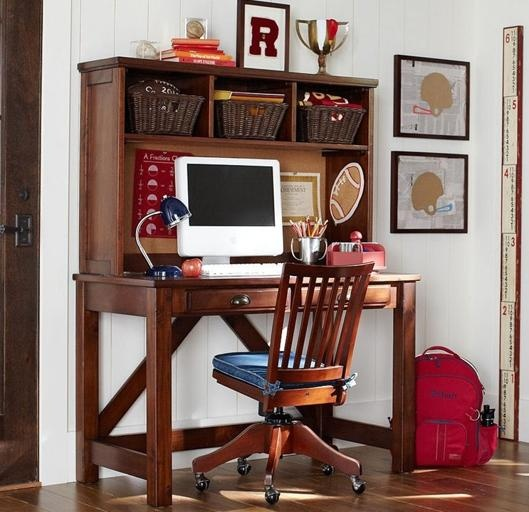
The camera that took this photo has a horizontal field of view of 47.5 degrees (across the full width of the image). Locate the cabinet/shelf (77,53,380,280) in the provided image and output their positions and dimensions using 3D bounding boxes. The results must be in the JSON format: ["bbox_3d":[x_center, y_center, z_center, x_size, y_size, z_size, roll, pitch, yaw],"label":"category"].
[{"bbox_3d":[-0.118,-0.365,2.571,1.261,0.888,0.361,-1,6,-31],"label":"cabinet/shelf"}]

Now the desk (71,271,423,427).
[{"bbox_3d":[-0.042,0.496,2.495,1.223,0.843,0.698,3,-5,-33],"label":"desk"}]

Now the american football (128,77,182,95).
[{"bbox_3d":[-0.425,-0.645,2.328,0.114,0.040,0.098,1,3,-33],"label":"american football"}]

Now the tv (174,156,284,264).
[{"bbox_3d":[-0.161,-0.200,2.582,0.450,0.414,0.163,-1,-3,-23],"label":"tv"}]

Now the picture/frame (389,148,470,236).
[{"bbox_3d":[0.875,-0.336,3.247,0.493,0.433,0.087,0,5,-30],"label":"picture/frame"}]

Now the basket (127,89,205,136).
[{"bbox_3d":[-0.388,-0.514,2.393,0.278,0.186,0.229,1,-2,-30],"label":"basket"}]

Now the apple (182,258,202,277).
[{"bbox_3d":[-0.261,0.042,2.183,0.060,0.063,0.063,-3,1,13],"label":"apple"}]

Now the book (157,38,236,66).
[{"bbox_3d":[-0.259,-0.817,2.424,0.303,0.142,0.194,1,6,-20],"label":"book"}]

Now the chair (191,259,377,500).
[{"bbox_3d":[0.114,0.410,2.313,0.561,0.940,0.586,-1,5,-32],"label":"chair"}]

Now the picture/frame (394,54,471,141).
[{"bbox_3d":[0.867,-0.844,3.228,0.493,0.501,0.026,1,-1,-15],"label":"picture/frame"}]

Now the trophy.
[{"bbox_3d":[0.259,-1.016,2.880,0.279,0.318,0.144,-1,9,-27],"label":"trophy"}]
